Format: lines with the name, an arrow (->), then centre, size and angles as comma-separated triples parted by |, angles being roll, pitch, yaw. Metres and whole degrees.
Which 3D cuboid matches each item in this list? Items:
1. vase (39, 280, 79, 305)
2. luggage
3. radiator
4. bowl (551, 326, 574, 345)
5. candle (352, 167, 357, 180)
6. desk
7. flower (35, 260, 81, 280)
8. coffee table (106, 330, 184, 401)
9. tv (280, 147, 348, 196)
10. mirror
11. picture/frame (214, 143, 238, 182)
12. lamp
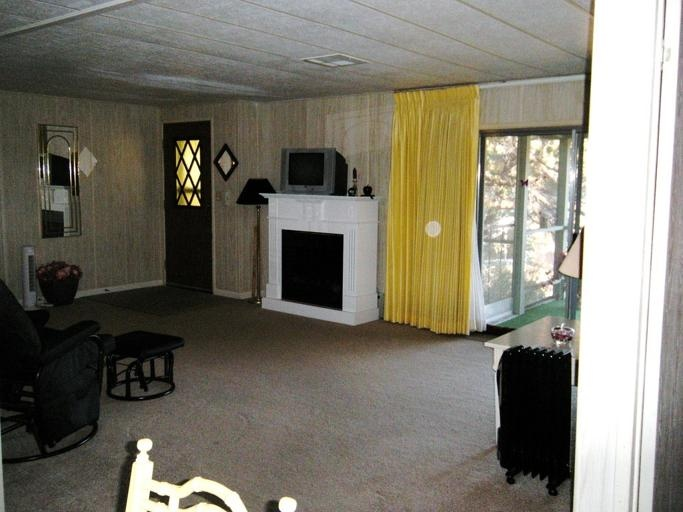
vase -> -3.634, 0.486, 7.079 | 0.309, 0.354, 0.429 | -5, -6, 40
luggage -> 1.145, 0.939, 3.222 | 0.419, 0.689, 0.395 | -2, -14, 27
radiator -> 1.104, 0.926, 3.131 | 0.398, 0.842, 0.151 | 5, 11, 24
bowl -> 1.406, 0.507, 3.512 | 0.112, 0.096, 0.113 | -1, -3, 0
candle -> 0.160, -0.985, 6.622 | 0.055, 0.143, 0.085 | 3, 10, 15
desk -> 1.139, 0.769, 3.280 | 0.435, 0.418, 0.862 | 5, 11, 35
flower -> -3.667, 0.189, 7.131 | 0.282, 0.196, 0.337 | -2, 1, -41
coffee table -> -1.618, 0.880, 4.400 | 0.566, 0.424, 0.568 | 2, 9, 12
tv -> -0.324, -1.005, 6.636 | 0.875, 0.594, 0.566 | 4, 4, 31
mirror -> -3.727, -0.976, 7.277 | 0.102, 1.452, 0.560 | 8, 13, 37
picture/frame -> -1.569, -1.288, 7.544 | 0.023, 0.476, 0.464 | -16, 24, -41
lamp -> -1.126, -0.197, 7.298 | 0.464, 1.632, 0.683 | -1, 10, -8
